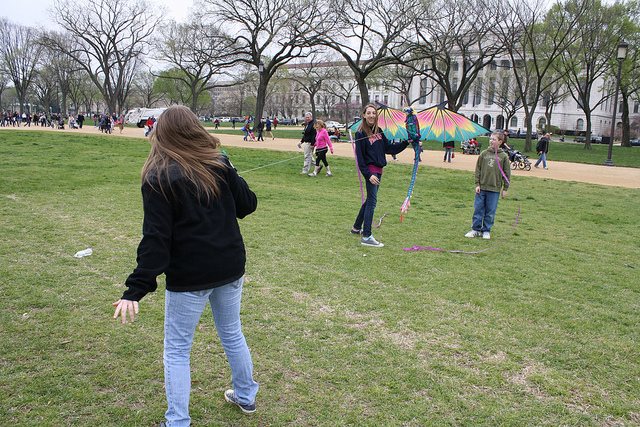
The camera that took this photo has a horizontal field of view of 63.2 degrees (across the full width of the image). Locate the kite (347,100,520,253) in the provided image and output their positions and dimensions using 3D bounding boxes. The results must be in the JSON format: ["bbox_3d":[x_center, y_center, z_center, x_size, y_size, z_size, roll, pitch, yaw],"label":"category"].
[{"bbox_3d":[2.674,-1.202,11.819,3.861,2.624,6.515,11,16,31],"label":"kite"}]

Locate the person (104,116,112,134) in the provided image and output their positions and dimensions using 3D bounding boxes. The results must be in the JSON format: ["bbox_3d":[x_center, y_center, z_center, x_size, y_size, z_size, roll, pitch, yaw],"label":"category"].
[{"bbox_3d":[-13.932,-5.863,34.130,0.370,1.202,2.389,-2,15,-22],"label":"person"}]

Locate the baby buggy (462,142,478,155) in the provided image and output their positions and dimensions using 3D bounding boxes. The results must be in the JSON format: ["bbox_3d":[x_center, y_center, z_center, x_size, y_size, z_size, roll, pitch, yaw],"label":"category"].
[{"bbox_3d":[8.320,-3.546,28.762,0.447,0.573,1.001,7,11,43],"label":"baby buggy"}]

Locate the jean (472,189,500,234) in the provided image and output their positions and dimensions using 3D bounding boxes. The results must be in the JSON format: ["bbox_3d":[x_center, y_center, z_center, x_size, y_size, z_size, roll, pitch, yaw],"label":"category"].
[{"bbox_3d":[3.304,-0.043,10.465,0.425,0.860,0.343,7,14,18],"label":"jean"}]

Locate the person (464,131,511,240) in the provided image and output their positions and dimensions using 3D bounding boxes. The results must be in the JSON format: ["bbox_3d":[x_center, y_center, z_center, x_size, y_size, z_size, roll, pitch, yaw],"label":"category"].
[{"bbox_3d":[3.357,-0.576,10.379,0.886,2.093,0.574,-5,15,-29],"label":"person"}]

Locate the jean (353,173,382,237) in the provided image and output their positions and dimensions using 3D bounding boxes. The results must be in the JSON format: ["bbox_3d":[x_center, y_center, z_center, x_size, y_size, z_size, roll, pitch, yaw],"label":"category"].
[{"bbox_3d":[0.975,-0.135,10.686,0.389,1.667,0.538,-1,42,-11],"label":"jean"}]

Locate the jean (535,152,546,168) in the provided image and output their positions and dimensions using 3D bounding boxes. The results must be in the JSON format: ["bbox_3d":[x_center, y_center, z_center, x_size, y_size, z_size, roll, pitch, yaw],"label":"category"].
[{"bbox_3d":[9.619,-2.335,22.604,0.389,0.681,0.950,10,15,27],"label":"jean"}]
